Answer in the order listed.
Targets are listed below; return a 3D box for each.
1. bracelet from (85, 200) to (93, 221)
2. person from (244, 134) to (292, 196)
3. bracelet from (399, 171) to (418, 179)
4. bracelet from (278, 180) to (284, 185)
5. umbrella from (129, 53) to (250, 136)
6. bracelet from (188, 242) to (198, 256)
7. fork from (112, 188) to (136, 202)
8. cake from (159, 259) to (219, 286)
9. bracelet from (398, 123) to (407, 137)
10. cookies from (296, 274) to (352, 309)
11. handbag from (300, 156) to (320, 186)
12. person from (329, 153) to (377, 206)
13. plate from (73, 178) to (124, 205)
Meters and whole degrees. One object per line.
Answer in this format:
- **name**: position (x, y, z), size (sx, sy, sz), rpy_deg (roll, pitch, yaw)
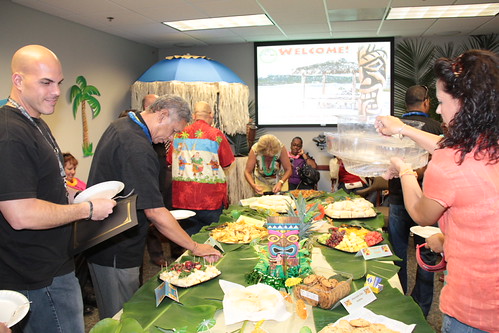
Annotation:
- **bracelet**: position (-0.912, 0.249, 1.907), size (0.026, 0.080, 0.074), rpy_deg (2, -16, -18)
- **person**: position (0.225, -0.042, 4.208), size (0.559, 0.729, 0.439), rpy_deg (-5, 7, -28)
- **bracelet**: position (0.920, 0.039, 1.949), size (0.073, 0.040, 0.096), rpy_deg (-3, 9, 13)
- **bracelet**: position (0.377, 0.193, 4.082), size (0.016, 0.058, 0.059), rpy_deg (-29, -28, 27)
- **umbrella**: position (-1.237, -1.258, 5.454), size (1.412, 0.874, 1.367), rpy_deg (5, 24, -6)
- **bracelet**: position (-0.399, 0.577, 2.343), size (0.051, 0.093, 0.072), rpy_deg (6, 26, -18)
- **fork**: position (-0.762, 0.172, 2.013), size (0.172, 0.019, 0.026), rpy_deg (-20, -7, 29)
- **cake**: position (-0.395, 0.693, 2.140), size (0.198, 0.064, 0.191), rpy_deg (3, 3, 43)
- **bracelet**: position (0.936, -0.223, 2.062), size (0.031, 0.075, 0.057), rpy_deg (10, 6, 10)
- **cookies**: position (0.432, 0.736, 1.973), size (0.276, 0.133, 0.192), rpy_deg (2, 7, 29)
- **handbag**: position (0.967, 0.173, 5.454), size (0.316, 0.397, 0.354), rpy_deg (1, 7, 19)
- **person**: position (1.615, 0.268, 5.451), size (0.594, 1.145, 0.667), rpy_deg (-10, 4, 14)
- **plate**: position (-0.900, 0.158, 1.990), size (0.175, 0.041, 0.170), rpy_deg (-9, -29, -32)
